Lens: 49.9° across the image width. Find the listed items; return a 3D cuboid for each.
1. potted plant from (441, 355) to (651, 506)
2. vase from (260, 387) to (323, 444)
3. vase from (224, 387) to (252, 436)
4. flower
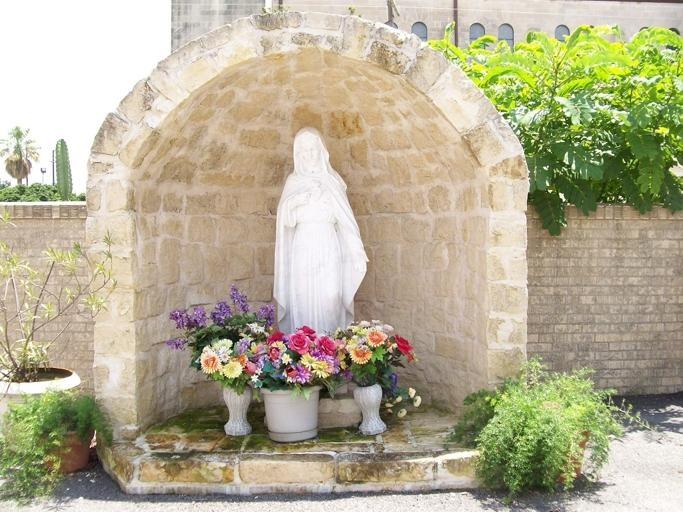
[{"bbox_3d":[1.581,1.369,5.885,1.173,1.016,0.698,-1,-2,-13],"label":"potted plant"},{"bbox_3d":[-0.424,1.315,6.228,0.476,0.350,0.472,2,-5,-26],"label":"vase"},{"bbox_3d":[-0.900,1.359,6.423,0.262,0.419,0.262,-2,-7,7],"label":"vase"},{"bbox_3d":[-0.435,0.833,6.382,1.761,0.861,1.263,7,0,-20],"label":"flower"}]
